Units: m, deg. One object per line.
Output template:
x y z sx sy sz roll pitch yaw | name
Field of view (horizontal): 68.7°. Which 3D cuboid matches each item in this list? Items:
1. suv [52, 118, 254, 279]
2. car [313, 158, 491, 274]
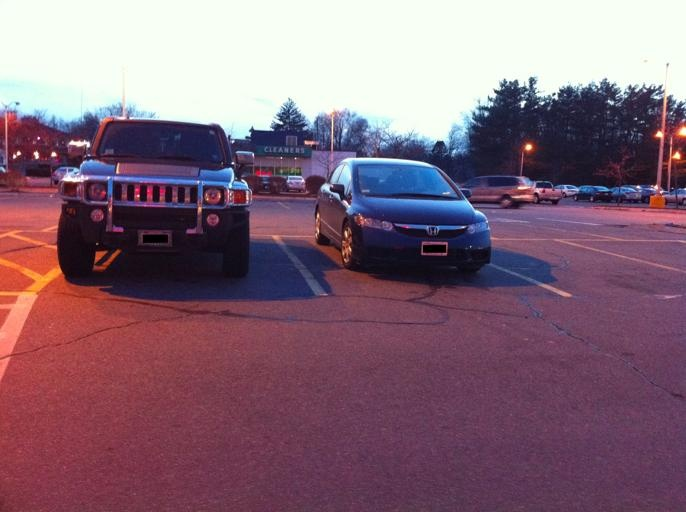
-3.403 -0.062 9.065 2.512 2.653 4.758 1 -18 -22 | suv
0.896 -0.822 9.371 2.235 2.004 3.539 -3 11 -29 | car
